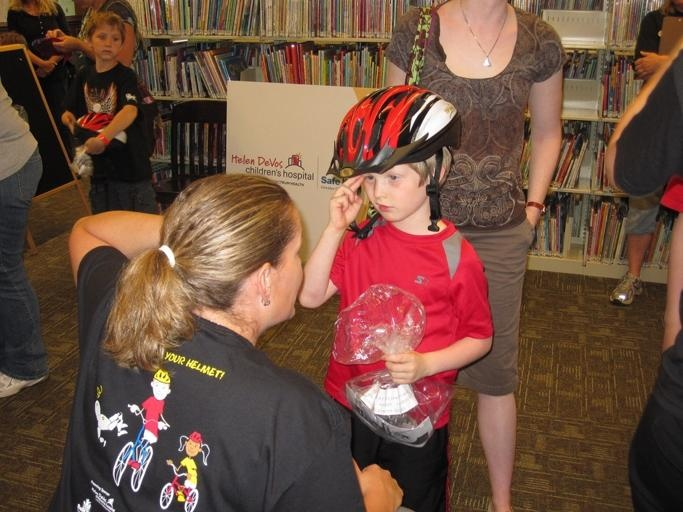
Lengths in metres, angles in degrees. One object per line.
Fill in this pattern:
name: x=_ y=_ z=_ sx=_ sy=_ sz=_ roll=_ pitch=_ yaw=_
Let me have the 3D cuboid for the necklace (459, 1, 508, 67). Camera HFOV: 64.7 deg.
necklace: x=0.489 y=-0.780 z=1.885 sx=0.159 sy=0.222 sz=0.108 roll=4 pitch=17 yaw=13

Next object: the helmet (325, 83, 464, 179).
helmet: x=0.191 y=-0.402 z=1.702 sx=0.417 sy=0.284 sz=0.343 roll=-13 pitch=19 yaw=-37

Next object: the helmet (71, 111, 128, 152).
helmet: x=-1.785 y=-0.904 z=3.942 sx=0.290 sy=0.323 sz=0.217 roll=3 pitch=-6 yaw=-40

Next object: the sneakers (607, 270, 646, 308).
sneakers: x=2.192 y=0.228 z=4.124 sx=0.348 sy=0.177 sz=0.152 roll=-24 pitch=20 yaw=-31
